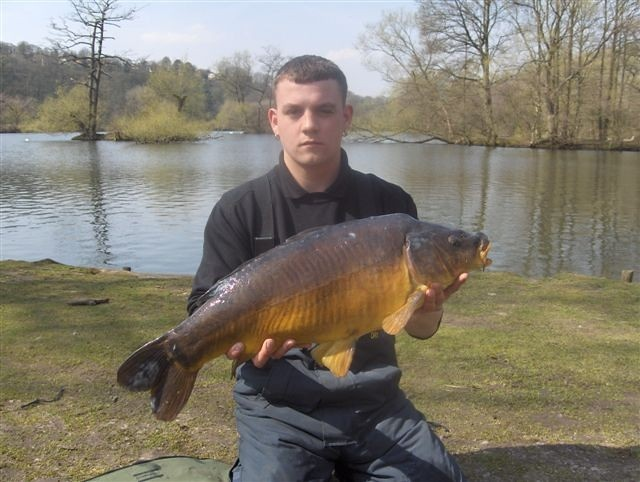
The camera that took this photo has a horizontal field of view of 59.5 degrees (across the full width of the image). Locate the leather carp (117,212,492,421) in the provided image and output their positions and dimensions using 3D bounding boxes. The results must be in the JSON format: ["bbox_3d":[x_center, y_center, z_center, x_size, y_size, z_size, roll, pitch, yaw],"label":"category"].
[{"bbox_3d":[-0.097,0.551,4.193,2.568,1.518,0.475,1,7,1],"label":"leather carp"}]
